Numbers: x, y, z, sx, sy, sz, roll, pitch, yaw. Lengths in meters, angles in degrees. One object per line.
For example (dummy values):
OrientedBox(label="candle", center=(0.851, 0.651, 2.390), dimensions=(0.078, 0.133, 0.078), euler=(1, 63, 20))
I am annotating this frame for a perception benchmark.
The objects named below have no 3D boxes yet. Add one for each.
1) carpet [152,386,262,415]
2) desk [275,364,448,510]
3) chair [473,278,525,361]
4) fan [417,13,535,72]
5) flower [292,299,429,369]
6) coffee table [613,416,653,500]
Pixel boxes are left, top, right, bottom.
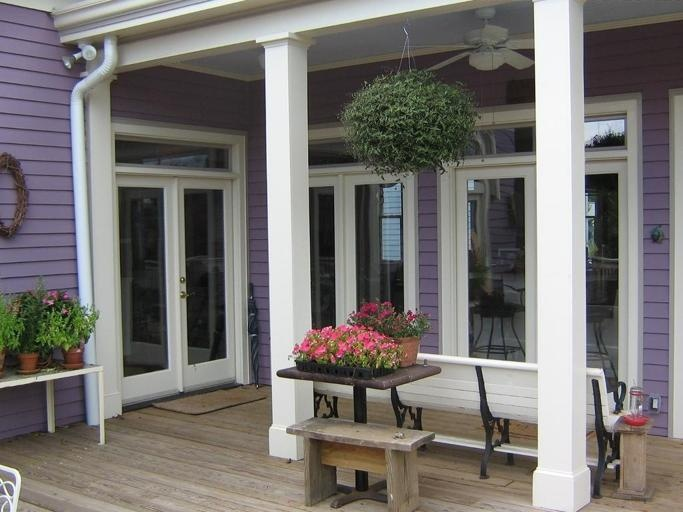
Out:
OrientedBox(label="carpet", center=(-1.334, 1.528, 6.516), dimensions=(0.716, 0.054, 1.187), euler=(2, 4, 43))
OrientedBox(label="desk", center=(0.172, 1.128, 4.071), dimensions=(0.918, 0.936, 0.788), euler=(-1, -1, 26))
OrientedBox(label="chair", center=(1.545, 0.604, 5.989), dimensions=(0.466, 0.749, 0.400), euler=(0, 3, 35))
OrientedBox(label="fan", center=(1.135, -1.782, 5.017), dimensions=(0.760, 0.325, 0.817), euler=(-6, -9, 27))
OrientedBox(label="flower", center=(0.195, 0.530, 4.313), dimensions=(0.870, 0.452, 0.697), euler=(2, 0, 36))
OrientedBox(label="coffee table", center=(1.942, 1.341, 4.033), dimensions=(0.198, 0.472, 0.261), euler=(1, 5, 27))
